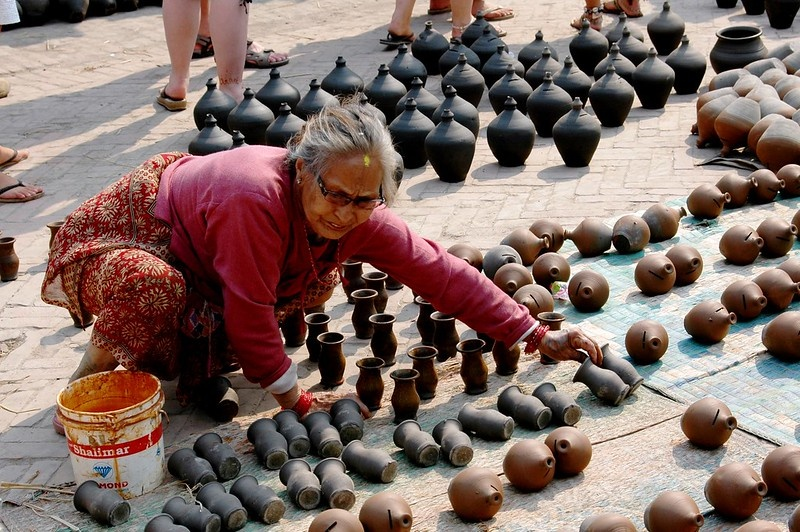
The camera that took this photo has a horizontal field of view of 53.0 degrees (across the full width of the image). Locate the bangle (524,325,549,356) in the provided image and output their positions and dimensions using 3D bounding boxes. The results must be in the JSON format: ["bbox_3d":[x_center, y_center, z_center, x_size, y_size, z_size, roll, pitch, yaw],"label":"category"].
[{"bbox_3d":[0.833,0.452,4.939,0.066,0.172,0.151,41,16,9],"label":"bangle"}]

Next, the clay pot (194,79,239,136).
[{"bbox_3d":[-1.939,-1.686,8.427,0.418,0.529,0.426,-3,42,2],"label":"clay pot"}]

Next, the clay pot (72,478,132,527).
[{"bbox_3d":[-1.620,1.262,4.301,0.340,0.154,0.134,13,28,28],"label":"clay pot"}]

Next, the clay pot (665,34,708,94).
[{"bbox_3d":[3.374,-2.339,9.363,0.542,0.793,0.577,-4,18,1],"label":"clay pot"}]

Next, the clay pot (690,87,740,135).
[{"bbox_3d":[3.202,-1.585,8.162,0.461,0.504,0.466,-1,0,0],"label":"clay pot"}]

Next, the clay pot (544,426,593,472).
[{"bbox_3d":[0.930,1.005,4.427,0.220,0.236,0.217,-11,5,1],"label":"clay pot"}]

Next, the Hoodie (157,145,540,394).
[{"bbox_3d":[-0.365,0.080,4.952,2.408,1.229,1.233,12,25,6],"label":"Hoodie"}]

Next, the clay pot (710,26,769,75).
[{"bbox_3d":[3.942,-2.553,9.342,0.574,0.630,0.635,-7,35,17],"label":"clay pot"}]

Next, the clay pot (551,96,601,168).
[{"bbox_3d":[1.748,-1.295,7.822,0.501,0.640,0.496,-7,21,3],"label":"clay pot"}]

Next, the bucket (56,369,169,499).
[{"bbox_3d":[-1.613,0.971,4.566,0.543,0.549,0.554,-3,15,1],"label":"bucket"}]

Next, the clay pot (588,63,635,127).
[{"bbox_3d":[2.310,-1.857,8.719,0.559,0.721,0.574,-3,20,1],"label":"clay pot"}]

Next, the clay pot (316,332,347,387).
[{"bbox_3d":[-0.450,0.617,5.192,0.229,0.408,0.238,1,31,0],"label":"clay pot"}]

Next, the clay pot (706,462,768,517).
[{"bbox_3d":[1.753,1.161,4.123,0.263,0.273,0.360,0,-15,-11],"label":"clay pot"}]

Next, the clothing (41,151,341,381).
[{"bbox_3d":[-1.288,-0.062,5.612,2.133,1.290,1.906,-7,21,-40],"label":"clothing"}]

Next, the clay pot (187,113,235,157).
[{"bbox_3d":[-1.754,-1.181,7.455,0.423,0.394,0.431,-1,21,0],"label":"clay pot"}]

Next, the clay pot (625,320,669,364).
[{"bbox_3d":[1.548,0.474,5.167,0.250,0.273,0.261,6,3,0],"label":"clay pot"}]

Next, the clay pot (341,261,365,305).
[{"bbox_3d":[-0.345,0.120,6.058,0.199,0.323,0.205,-5,9,1],"label":"clay pot"}]

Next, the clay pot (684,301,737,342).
[{"bbox_3d":[2.059,0.378,5.256,0.244,0.277,0.342,13,-15,-32],"label":"clay pot"}]

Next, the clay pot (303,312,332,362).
[{"bbox_3d":[-0.555,0.486,5.345,0.208,0.283,0.186,-11,31,-20],"label":"clay pot"}]

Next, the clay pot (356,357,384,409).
[{"bbox_3d":[-0.182,0.735,4.966,0.187,0.303,0.182,1,17,0],"label":"clay pot"}]

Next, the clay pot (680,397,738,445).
[{"bbox_3d":[1.756,0.885,4.499,0.282,0.294,0.373,2,-6,-11],"label":"clay pot"}]

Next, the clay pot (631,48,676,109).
[{"bbox_3d":[2.864,-2.098,9.023,0.496,0.624,0.502,-6,18,2],"label":"clay pot"}]
